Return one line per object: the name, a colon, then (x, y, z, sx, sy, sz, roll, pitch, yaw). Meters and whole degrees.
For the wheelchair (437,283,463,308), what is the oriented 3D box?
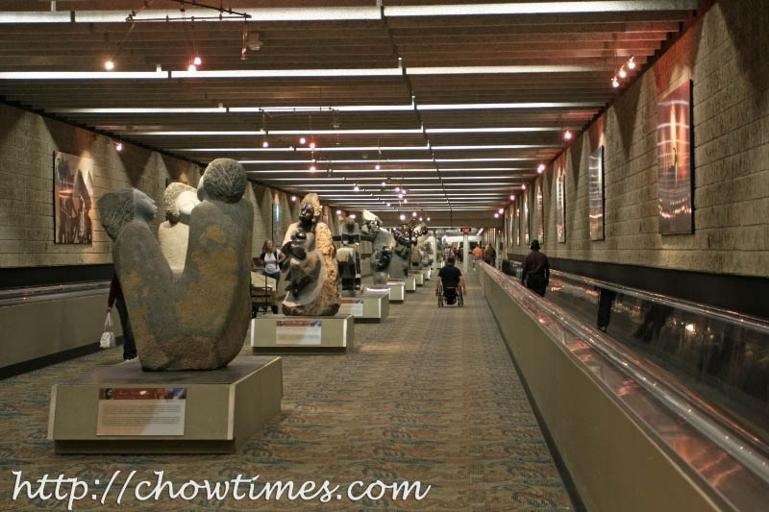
wheelchair: (1.920, 1.171, 15.698, 0.500, 0.700, 0.785, 0, 5, 10)

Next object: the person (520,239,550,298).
person: (3.263, 0.275, 11.601, 0.575, 1.189, 2.046, 0, 2, 15)

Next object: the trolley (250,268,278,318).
trolley: (-2.826, 0.972, 12.088, 0.666, 0.634, 0.851, -7, -18, -22)

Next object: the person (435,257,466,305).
person: (1.901, 0.746, 15.483, 0.743, 1.459, 1.863, 0, 2, 6)
